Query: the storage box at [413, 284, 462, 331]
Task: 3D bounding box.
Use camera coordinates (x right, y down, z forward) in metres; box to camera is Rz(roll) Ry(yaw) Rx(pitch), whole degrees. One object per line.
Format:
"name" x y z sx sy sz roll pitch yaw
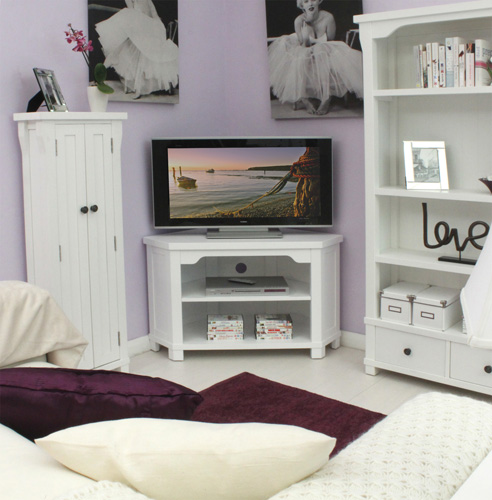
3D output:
"storage box" 0.989 0.298 2.873 0.191 0.134 0.251 5 10 41

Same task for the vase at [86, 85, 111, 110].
"vase" -0.744 -0.797 2.918 0.138 0.126 0.127 2 4 21

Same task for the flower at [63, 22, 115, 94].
"flower" -0.846 -1.015 2.959 0.216 0.373 0.378 -4 12 -16

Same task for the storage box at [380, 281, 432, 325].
"storage box" 0.882 0.223 3.013 0.204 0.196 0.361 6 11 33

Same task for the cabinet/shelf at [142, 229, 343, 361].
"cabinet/shelf" -0.004 0.248 3.669 1.688 0.814 0.783 -1 4 -2
